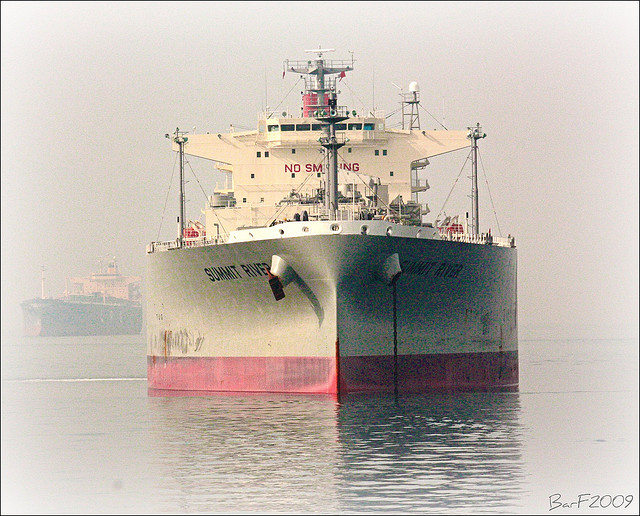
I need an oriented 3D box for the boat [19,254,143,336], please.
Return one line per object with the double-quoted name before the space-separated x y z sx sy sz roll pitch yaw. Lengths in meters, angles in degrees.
"boat" -17.610 3.334 127.877 6.811 5.751 15.792 6 -2 6
